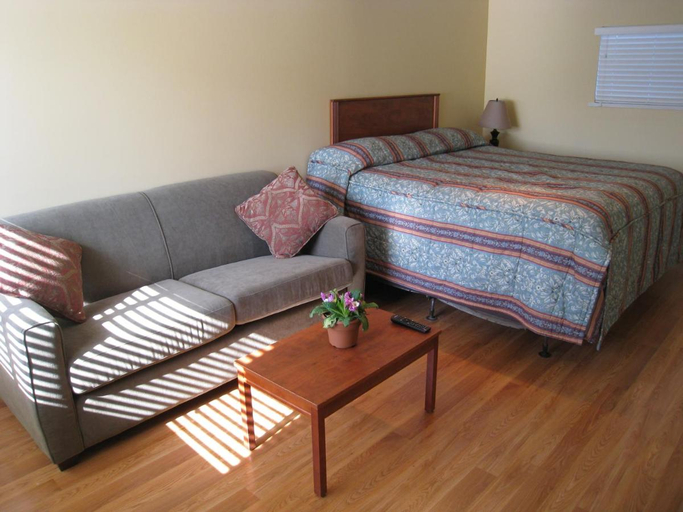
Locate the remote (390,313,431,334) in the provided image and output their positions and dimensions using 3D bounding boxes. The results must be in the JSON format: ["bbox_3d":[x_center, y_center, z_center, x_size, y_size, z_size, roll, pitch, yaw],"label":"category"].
[{"bbox_3d":[0.332,0.358,2.653,0.250,0.048,0.073,18,41,29],"label":"remote"}]

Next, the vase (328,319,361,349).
[{"bbox_3d":[0.008,0.374,2.470,0.149,0.101,0.147,8,19,22],"label":"vase"}]

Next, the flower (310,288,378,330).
[{"bbox_3d":[-0.007,0.237,2.434,0.313,0.127,0.295,1,11,17],"label":"flower"}]
